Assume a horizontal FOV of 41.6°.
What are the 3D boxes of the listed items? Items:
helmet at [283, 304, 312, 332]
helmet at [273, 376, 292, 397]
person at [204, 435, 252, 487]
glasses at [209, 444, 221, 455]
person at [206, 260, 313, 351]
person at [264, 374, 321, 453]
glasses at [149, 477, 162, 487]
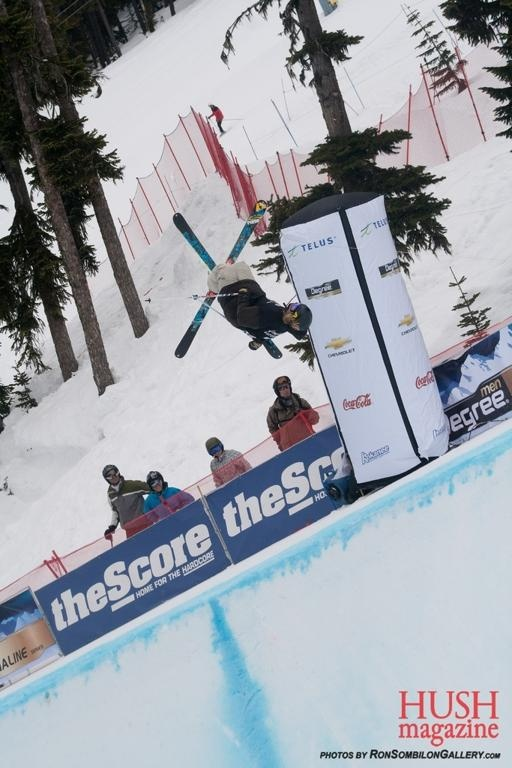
[{"bbox_3d":[0.367,-0.571,5.787,0.239,0.237,0.192,118,178,-89],"label":"helmet"},{"bbox_3d":[0.303,0.036,7.350,0.167,0.218,0.217,-15,-22,-5],"label":"helmet"},{"bbox_3d":[-0.335,0.932,8.115,0.413,0.263,0.812,-63,26,6],"label":"person"},{"bbox_3d":[-0.454,0.714,7.452,0.096,0.094,0.125,-39,-7,-9],"label":"glasses"},{"bbox_3d":[-0.073,-0.917,6.956,0.690,1.196,0.514,-14,-47,-32],"label":"person"},{"bbox_3d":[0.331,0.294,7.104,0.539,0.487,0.723,-27,15,-1],"label":"person"},{"bbox_3d":[-1.095,1.064,7.367,0.098,0.122,0.129,-26,-5,-11],"label":"glasses"}]
